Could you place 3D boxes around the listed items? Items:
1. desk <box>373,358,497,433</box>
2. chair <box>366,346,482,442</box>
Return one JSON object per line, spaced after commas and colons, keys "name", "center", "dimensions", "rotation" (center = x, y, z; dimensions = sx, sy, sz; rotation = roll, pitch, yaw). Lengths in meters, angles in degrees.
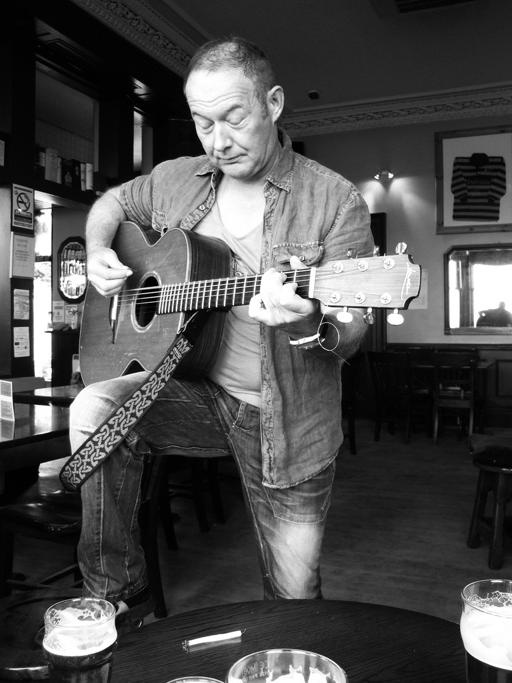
{"name": "desk", "center": [1.735, 0.532, 6.509], "dimensions": [0.951, 0.747, 1.087], "rotation": [1, 4, 19]}
{"name": "chair", "center": [1.727, 0.531, 6.503], "dimensions": [0.906, 0.876, 1.162], "rotation": [1, 5, 22]}
